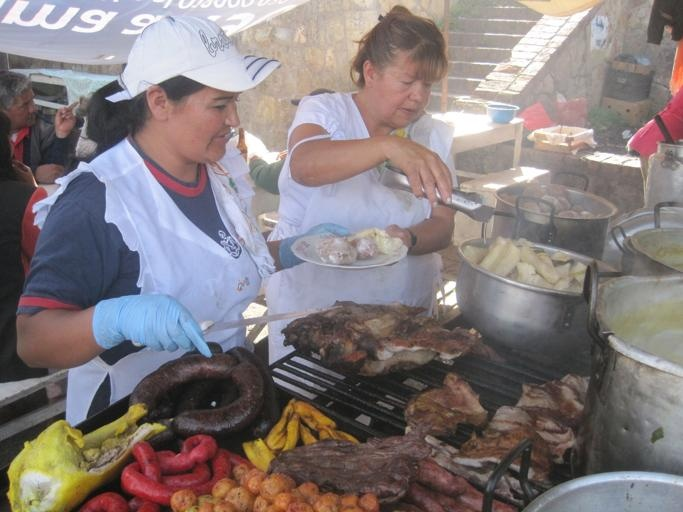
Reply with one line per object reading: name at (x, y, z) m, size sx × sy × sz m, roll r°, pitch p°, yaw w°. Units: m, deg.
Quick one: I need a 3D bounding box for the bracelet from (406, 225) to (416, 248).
bracelet at (0.411, -0.118, 3.489) m, size 0.032 × 0.088 × 0.088 m, roll -6°, pitch 53°, yaw -3°

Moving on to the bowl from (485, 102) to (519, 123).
bowl at (1.726, -1.557, 6.418) m, size 0.269 × 0.138 × 0.288 m, roll 2°, pitch 30°, yaw -1°

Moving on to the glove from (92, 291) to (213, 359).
glove at (-0.764, 0.205, 2.577) m, size 0.420 × 0.258 × 0.535 m, roll -2°, pitch 16°, yaw -12°

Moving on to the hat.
hat at (-0.663, -0.899, 2.672) m, size 0.581 × 0.232 × 0.379 m, roll -5°, pitch 24°, yaw -4°

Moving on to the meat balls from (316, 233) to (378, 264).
meat balls at (0.026, -0.042, 3.114) m, size 0.219 × 0.102 × 0.169 m, roll -8°, pitch 18°, yaw -29°

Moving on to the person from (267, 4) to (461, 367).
person at (0.123, -0.486, 3.606) m, size 0.901 × 2.518 × 1.132 m, roll 4°, pitch 18°, yaw 8°

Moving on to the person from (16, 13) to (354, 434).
person at (-0.842, -0.182, 2.793) m, size 1.006 × 2.396 × 1.074 m, roll -9°, pitch 26°, yaw -37°

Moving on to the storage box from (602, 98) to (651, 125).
storage box at (5.341, -2.773, 11.193) m, size 0.530 × 0.452 × 0.811 m, roll -15°, pitch 28°, yaw -25°

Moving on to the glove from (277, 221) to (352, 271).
glove at (-0.143, -0.077, 3.578) m, size 0.369 × 0.274 × 0.349 m, roll -17°, pitch 24°, yaw -40°
